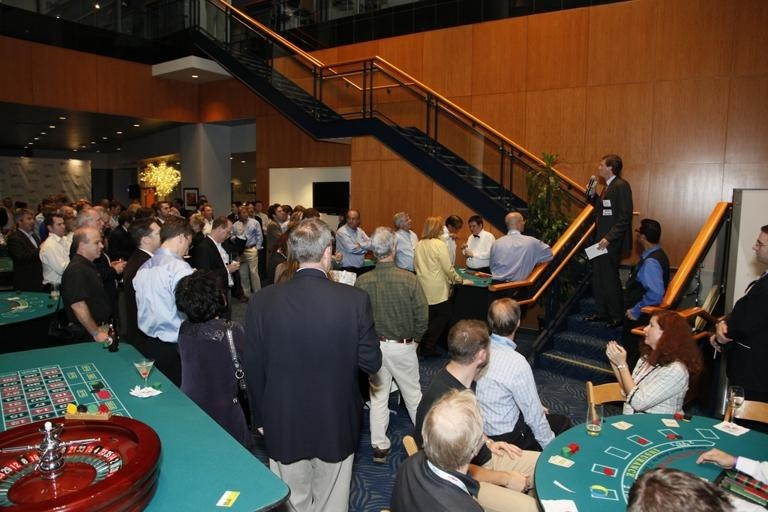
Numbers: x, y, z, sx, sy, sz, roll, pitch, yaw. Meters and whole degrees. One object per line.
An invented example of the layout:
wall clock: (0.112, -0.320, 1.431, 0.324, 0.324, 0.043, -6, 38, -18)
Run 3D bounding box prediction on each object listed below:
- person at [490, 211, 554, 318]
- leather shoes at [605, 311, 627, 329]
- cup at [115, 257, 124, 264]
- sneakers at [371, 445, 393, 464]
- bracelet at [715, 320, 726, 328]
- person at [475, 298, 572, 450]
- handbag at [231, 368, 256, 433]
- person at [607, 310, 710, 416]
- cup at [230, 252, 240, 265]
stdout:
person: (2.019, 0.349, 7.777, 0.753, 2.005, 0.628, -4, 20, 3)
leather shoes: (3.162, 0.869, 7.162, 0.372, 0.181, 0.133, 15, -11, -43)
cup: (-3.566, 0.061, 7.088, 0.070, 0.084, 0.072, -6, 8, 1)
sneakers: (-0.027, 2.009, 5.329, 0.088, 0.120, 0.240, 1, 6, 13)
bracelet: (3.585, 0.724, 5.600, 0.125, 0.044, 0.093, -39, -41, 20)
person: (1.416, 1.188, 5.247, 0.920, 1.813, 0.696, -27, 28, -38)
handbag: (-1.287, 1.303, 4.791, 0.145, 0.674, 0.431, -2, 8, 0)
person: (2.471, 0.978, 4.824, 0.735, 0.895, 0.612, -5, 11, -29)
cup: (-2.569, 0.032, 9.035, 0.090, 0.140, 0.169, -7, 11, -31)
